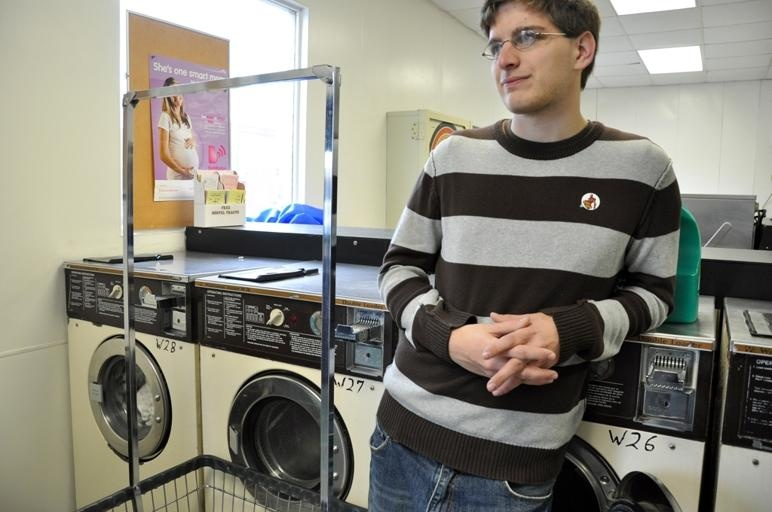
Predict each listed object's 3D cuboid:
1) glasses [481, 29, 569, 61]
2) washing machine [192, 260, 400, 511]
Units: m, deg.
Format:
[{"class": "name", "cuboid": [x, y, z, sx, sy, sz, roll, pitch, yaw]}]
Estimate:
[{"class": "glasses", "cuboid": [0.390, -0.614, 1.561, 0.259, 0.074, 0.116, 6, 9, 36]}, {"class": "washing machine", "cuboid": [-0.404, 0.369, 2.522, 0.961, 1.347, 0.783, 7, 10, 31]}]
